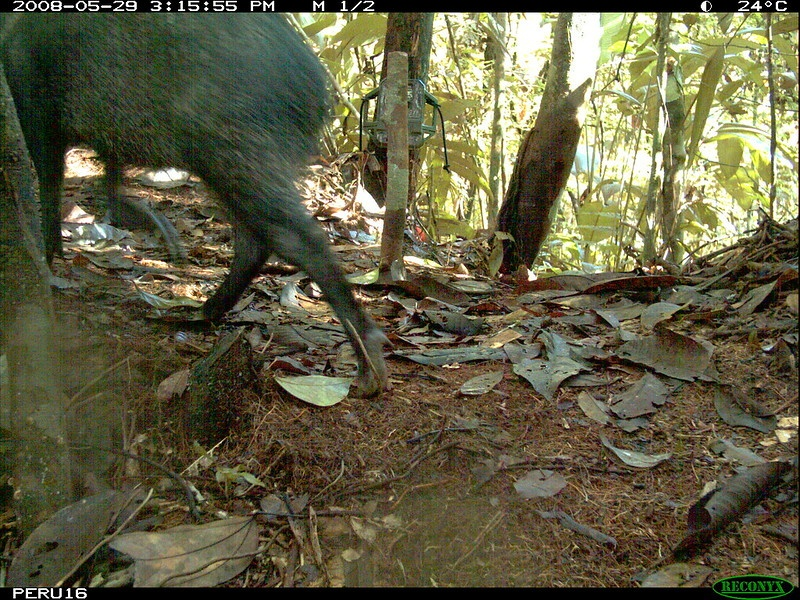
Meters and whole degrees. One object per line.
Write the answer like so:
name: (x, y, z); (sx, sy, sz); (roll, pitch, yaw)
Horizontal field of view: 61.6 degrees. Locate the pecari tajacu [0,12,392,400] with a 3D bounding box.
pecari tajacu: (-0.765, -0.509, 2.734); (1.607, 1.300, 1.470); (7, 15, -4)
